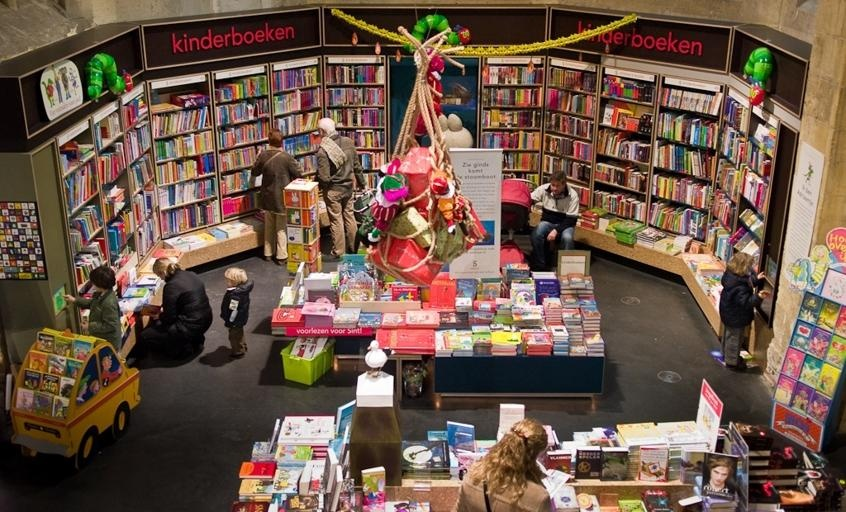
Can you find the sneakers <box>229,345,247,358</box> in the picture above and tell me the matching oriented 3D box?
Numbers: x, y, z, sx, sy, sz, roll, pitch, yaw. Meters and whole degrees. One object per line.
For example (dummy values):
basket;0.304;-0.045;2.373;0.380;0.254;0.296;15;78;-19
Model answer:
sneakers;-2.928;1.534;9.021;0.264;0.237;0.126;3;10;-7
